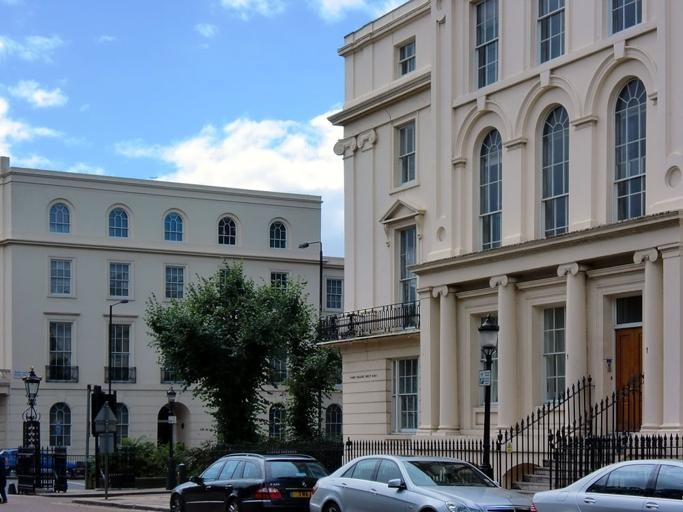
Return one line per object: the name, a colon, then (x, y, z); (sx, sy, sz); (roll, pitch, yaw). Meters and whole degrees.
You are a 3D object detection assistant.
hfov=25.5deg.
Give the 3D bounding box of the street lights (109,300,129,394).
street lights: (-10.636, 4.321, 71.594); (0.919, 4.509, 0.502); (0, -14, -6)
